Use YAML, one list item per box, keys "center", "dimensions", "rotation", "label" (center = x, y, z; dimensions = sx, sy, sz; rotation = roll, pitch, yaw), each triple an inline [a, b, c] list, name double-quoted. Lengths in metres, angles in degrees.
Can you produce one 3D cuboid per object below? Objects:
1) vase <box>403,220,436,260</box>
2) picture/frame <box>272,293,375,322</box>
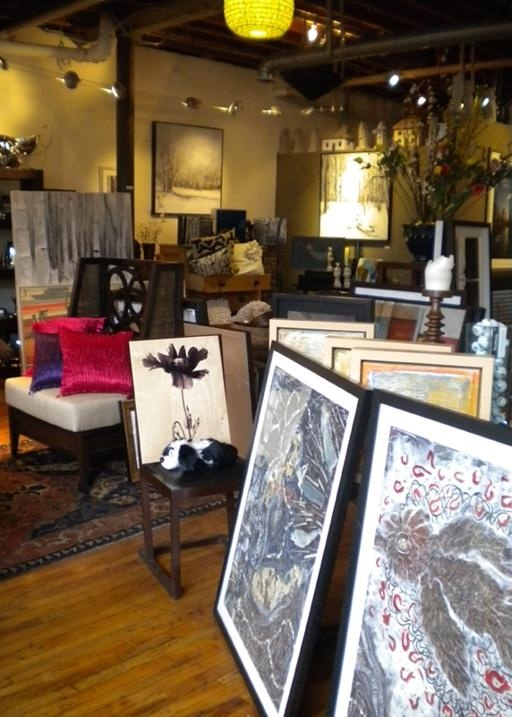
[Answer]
- center: [1.297, -0.933, 4.053]
  dimensions: [0.201, 0.344, 0.484]
  rotation: [2, 7, 11]
  label: "vase"
- center: [0.276, -0.228, 2.249]
  dimensions: [0.334, 0.112, 0.441]
  rotation: [-2, 8, -18]
  label: "picture/frame"
